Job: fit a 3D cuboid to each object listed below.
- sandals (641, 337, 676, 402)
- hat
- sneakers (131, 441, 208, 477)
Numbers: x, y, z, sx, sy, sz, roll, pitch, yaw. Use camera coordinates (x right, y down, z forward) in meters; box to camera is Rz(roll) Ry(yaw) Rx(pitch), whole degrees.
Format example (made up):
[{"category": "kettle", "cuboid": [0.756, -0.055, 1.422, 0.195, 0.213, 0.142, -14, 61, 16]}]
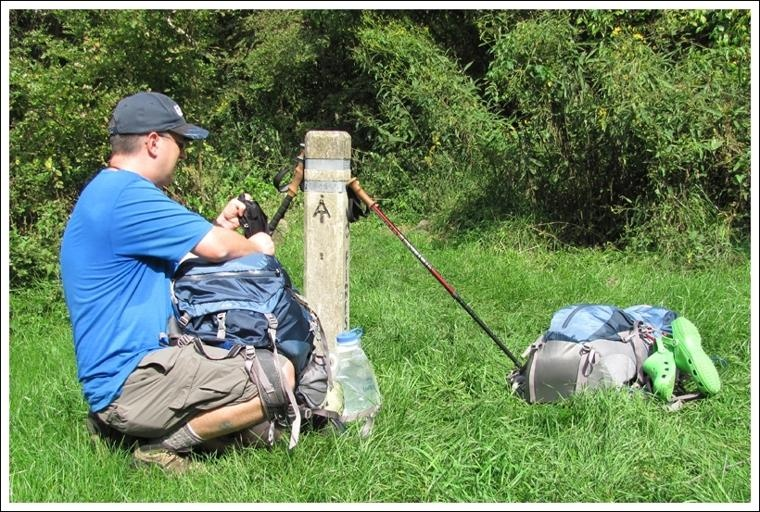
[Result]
[{"category": "sandals", "cuboid": [2.308, 0.919, 5.615, 0.255, 0.549, 0.191, -8, -25, 8]}, {"category": "hat", "cuboid": [-1.646, -1.038, 5.186, 0.724, 0.330, 0.444, -5, 0, -20]}, {"category": "sneakers", "cuboid": [-1.442, 1.478, 4.985, 0.629, 0.254, 0.206, 9, 6, -11]}]
